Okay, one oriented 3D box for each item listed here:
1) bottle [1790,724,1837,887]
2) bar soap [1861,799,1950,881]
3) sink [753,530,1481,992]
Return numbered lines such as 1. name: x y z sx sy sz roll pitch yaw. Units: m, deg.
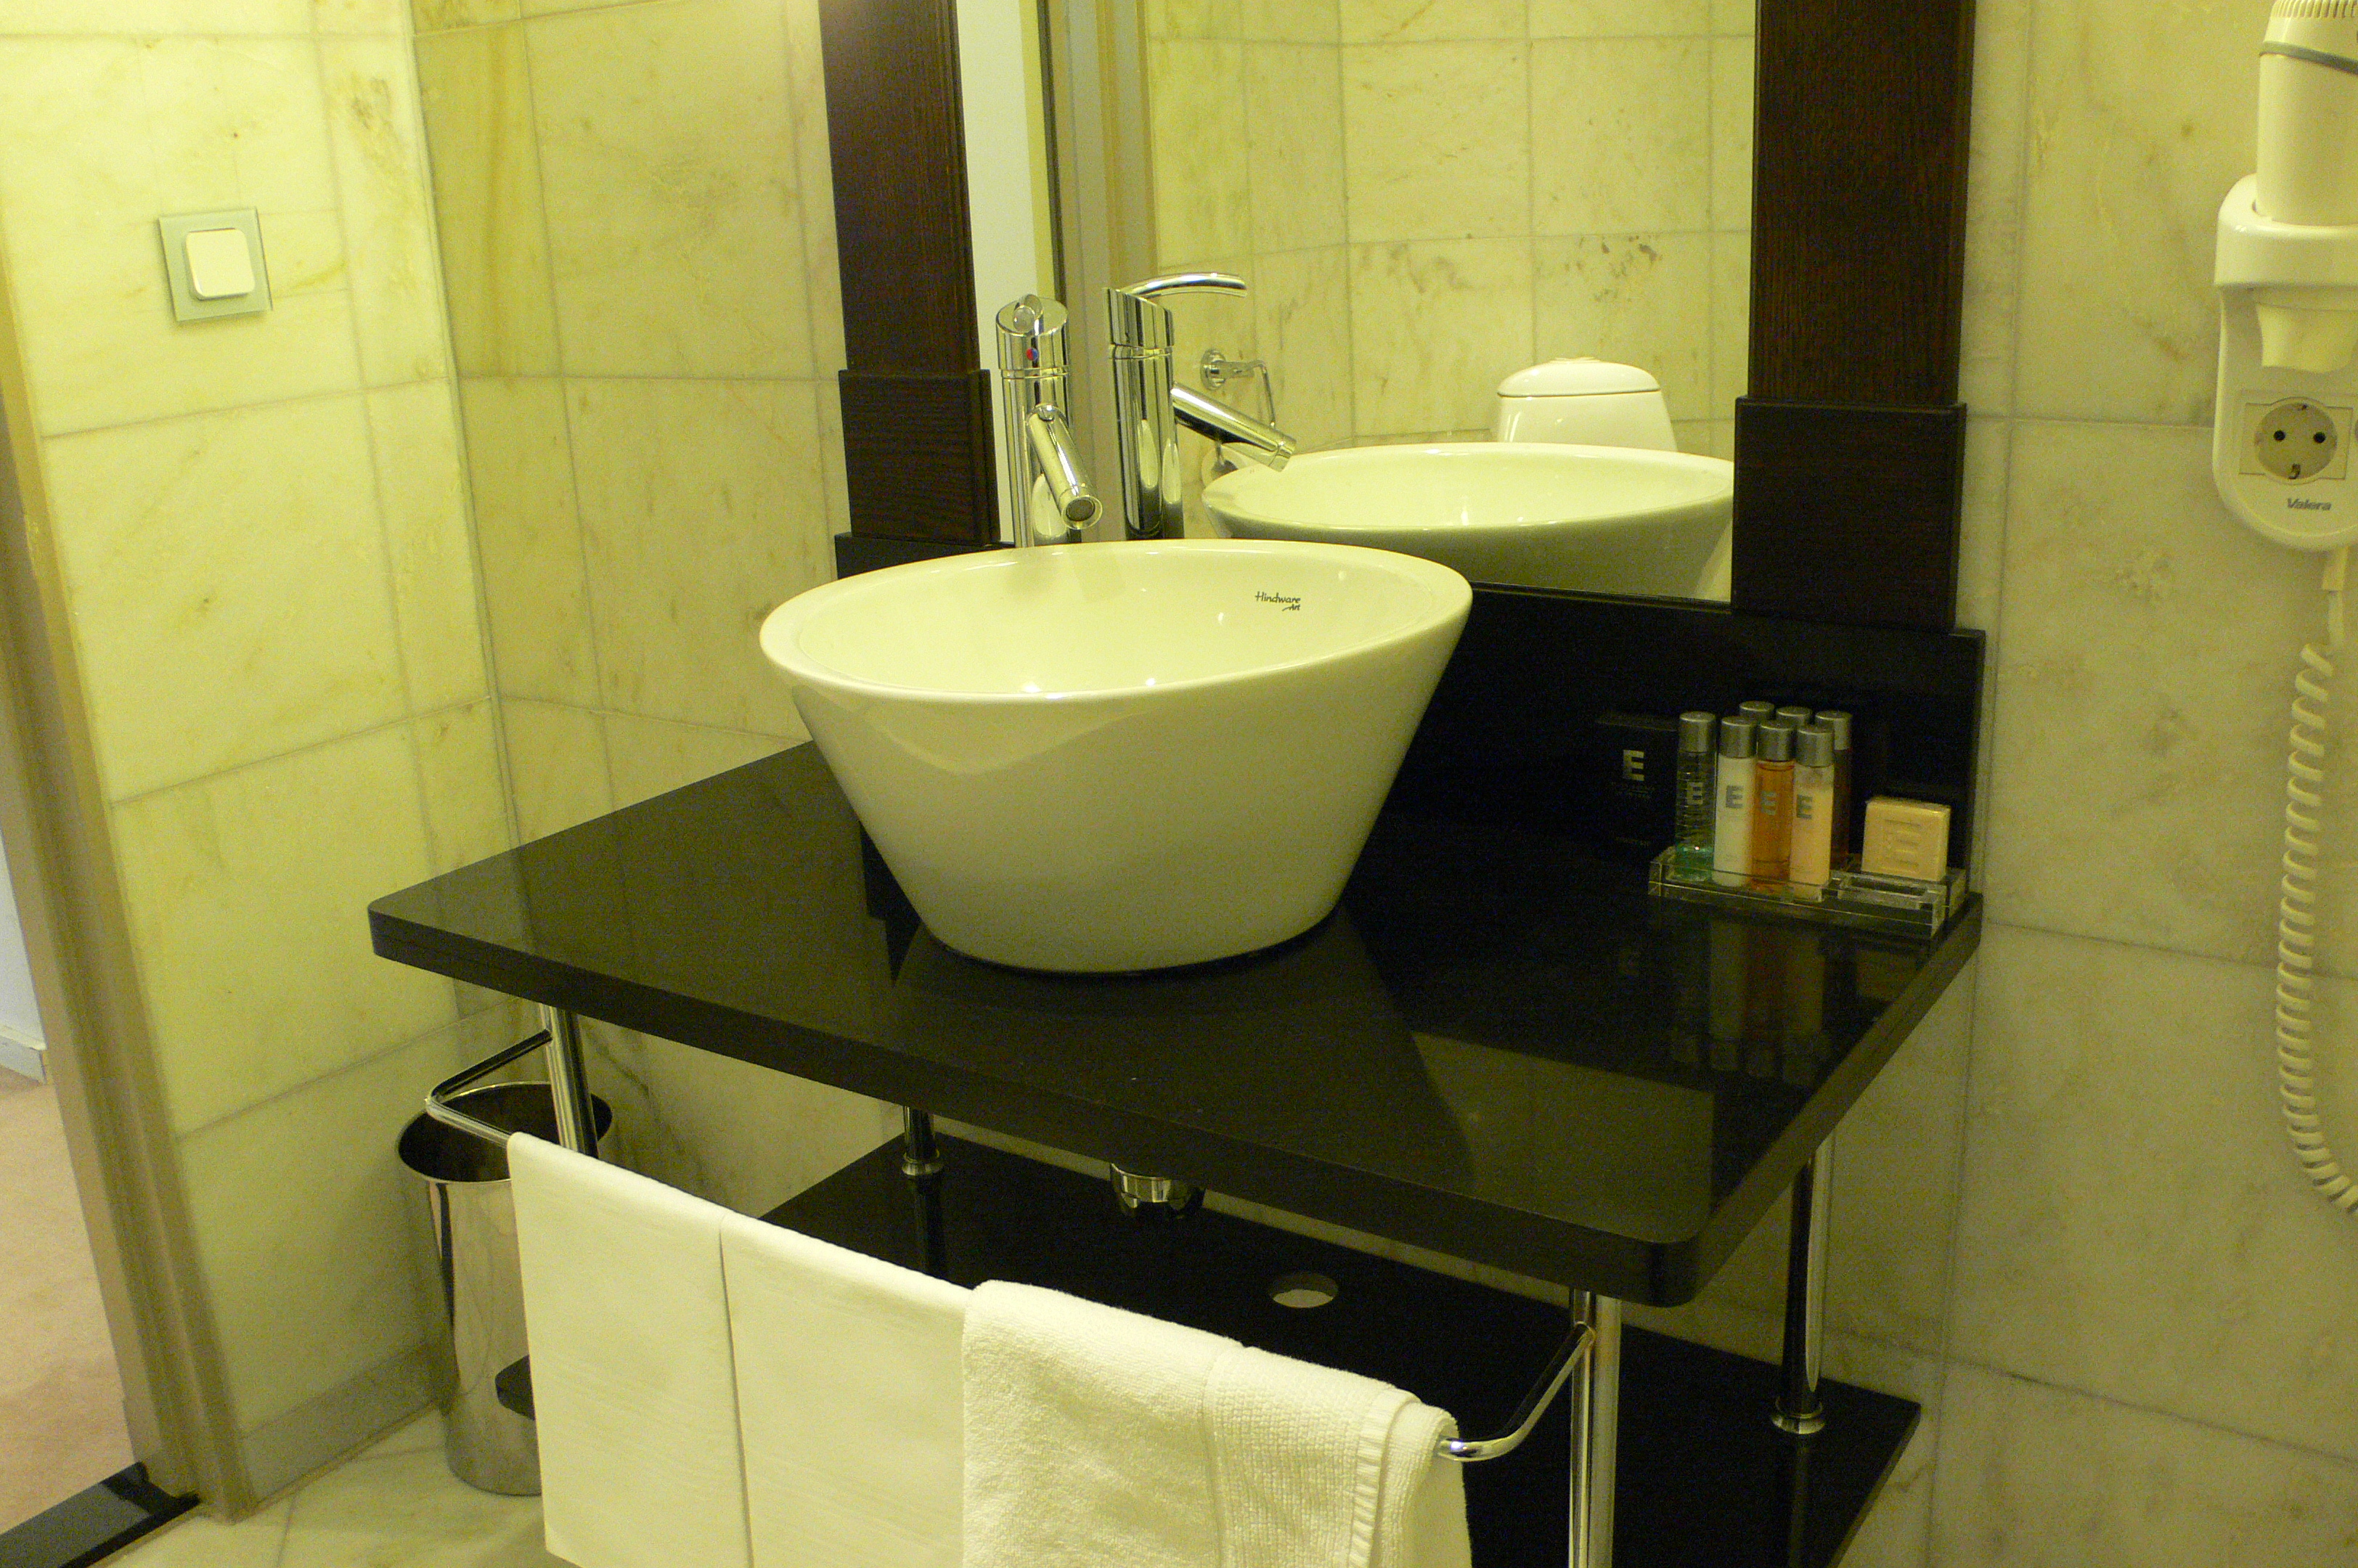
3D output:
1. bottle: 0.569 0.021 1.740 0.043 0.152 0.024 6 14 17
2. bar soap: 0.655 0.051 1.749 0.068 0.064 0.038 4 11 28
3. sink: -0.070 -0.035 1.820 0.632 0.365 0.452 0 13 -7
